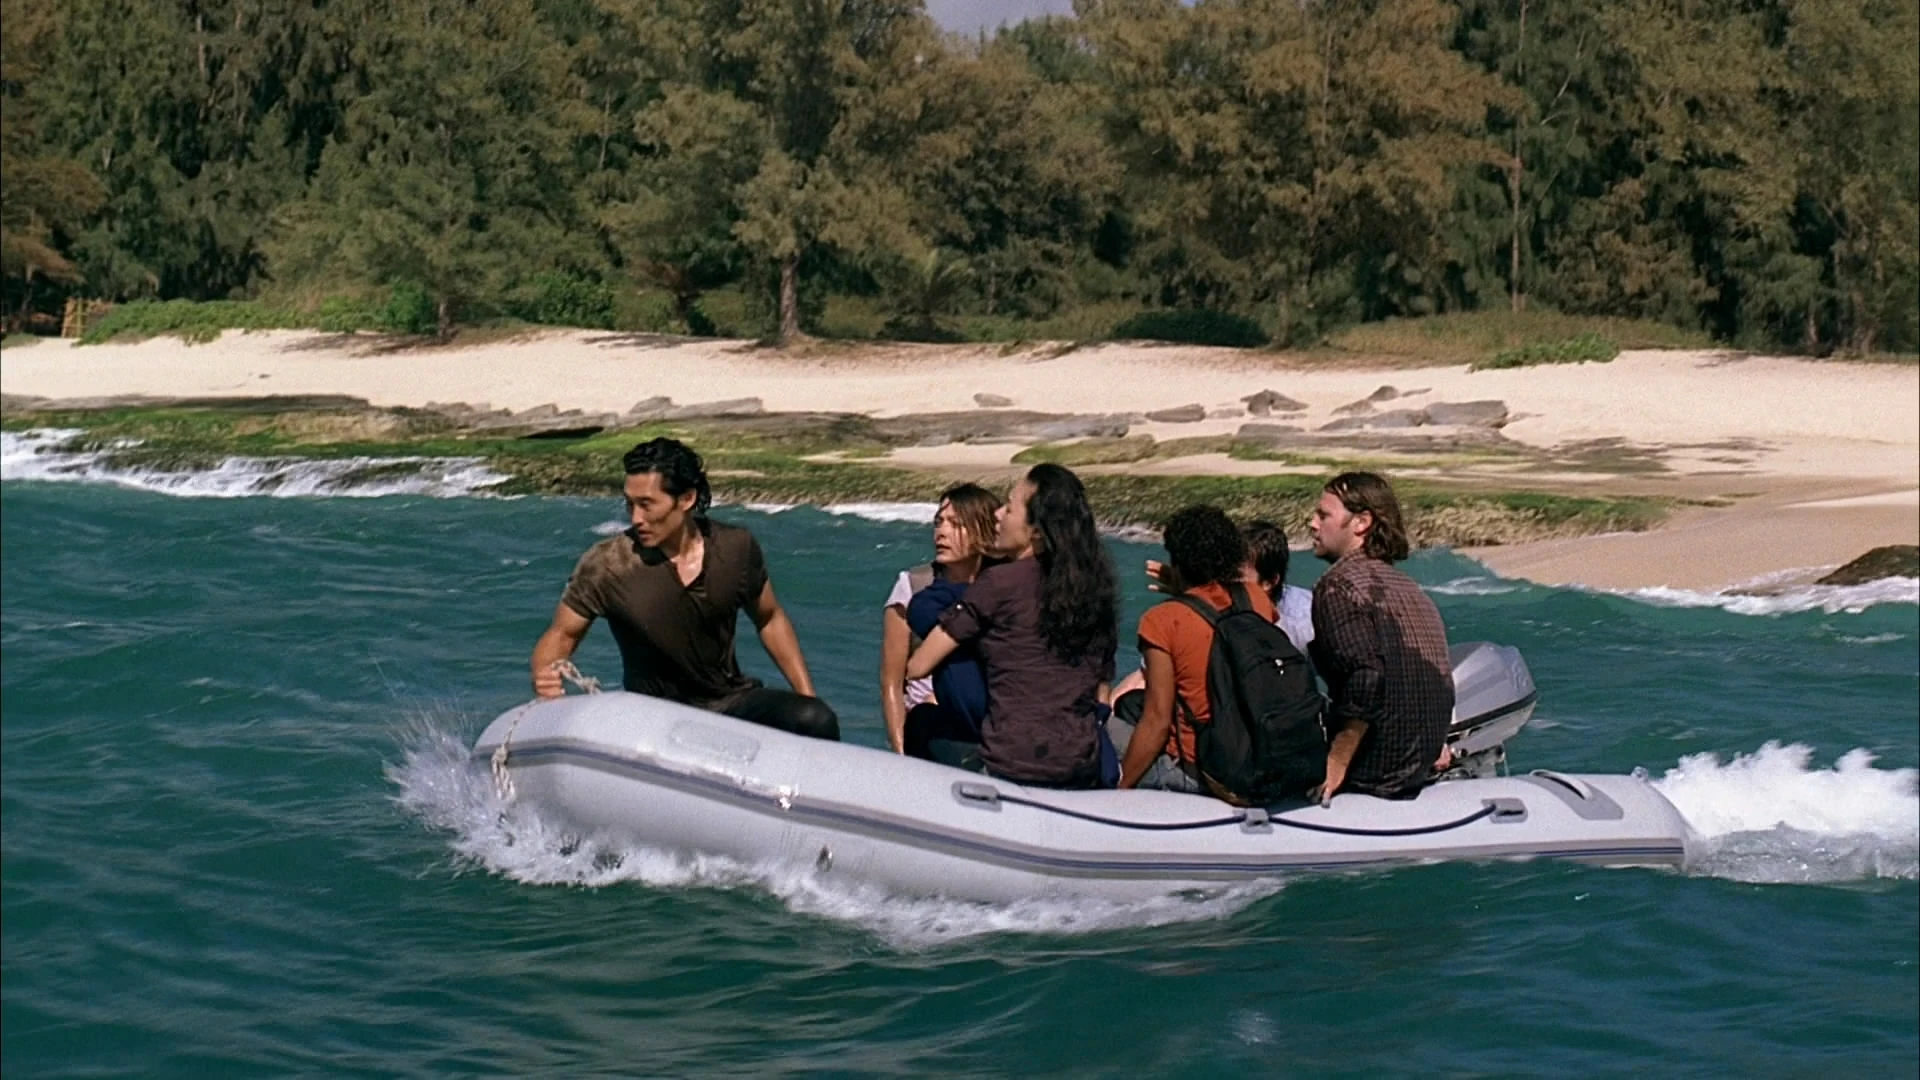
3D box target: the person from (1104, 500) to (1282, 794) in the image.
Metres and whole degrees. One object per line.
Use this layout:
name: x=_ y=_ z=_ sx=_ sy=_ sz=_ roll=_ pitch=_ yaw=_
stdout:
person: x=2.029 y=0.979 z=17.824 sx=1.359 sy=2.600 sz=0.593 roll=-3 pitch=8 yaw=4

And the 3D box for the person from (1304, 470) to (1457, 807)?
person: x=3.725 y=0.868 z=17.935 sx=1.204 sy=2.962 sz=0.501 roll=-2 pitch=8 yaw=9
